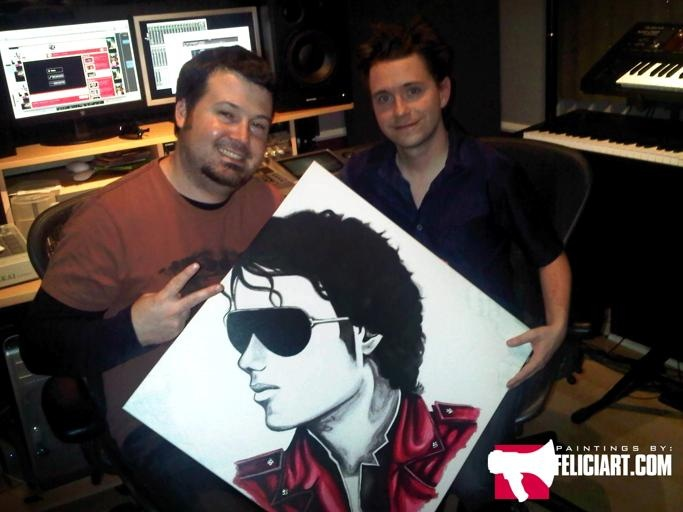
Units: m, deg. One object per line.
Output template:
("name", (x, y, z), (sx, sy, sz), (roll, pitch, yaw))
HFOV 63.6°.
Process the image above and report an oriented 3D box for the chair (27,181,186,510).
("chair", (-0.623, 0.241, 1.668), (0.525, 0.802, 0.413), (9, 24, 23))
